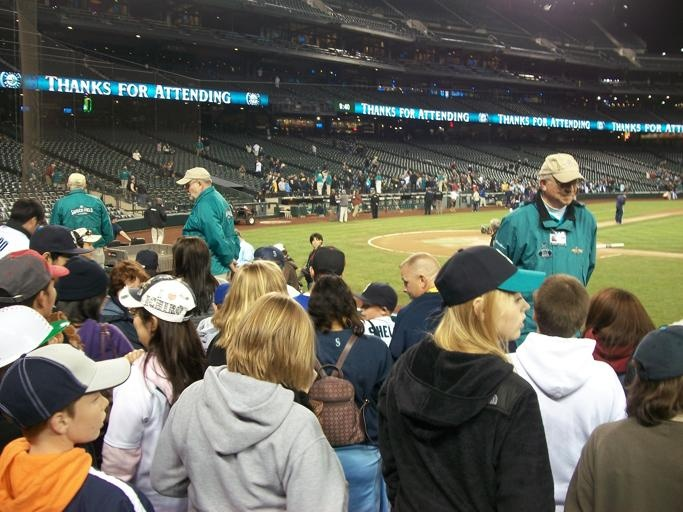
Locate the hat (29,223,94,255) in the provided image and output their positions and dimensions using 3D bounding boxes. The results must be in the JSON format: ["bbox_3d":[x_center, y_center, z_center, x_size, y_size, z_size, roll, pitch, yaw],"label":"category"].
[{"bbox_3d":[-2.698,-0.140,6.722,0.460,0.232,0.301,0,9,-26],"label":"hat"}]

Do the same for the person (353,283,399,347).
[{"bbox_3d":[0.383,0.521,6.714,0.491,0.706,0.422,5,-4,8],"label":"person"}]

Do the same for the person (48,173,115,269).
[{"bbox_3d":[-3.695,-0.117,10.077,0.808,2.123,0.626,0,14,-15],"label":"person"}]

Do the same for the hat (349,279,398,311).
[{"bbox_3d":[0.332,0.383,6.630,0.325,0.203,0.244,17,5,14],"label":"hat"}]

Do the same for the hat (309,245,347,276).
[{"bbox_3d":[-0.150,0.053,8.000,0.450,0.332,0.729,11,-4,1],"label":"hat"}]

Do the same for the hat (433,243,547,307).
[{"bbox_3d":[0.841,0.085,4.024,0.517,0.284,0.333,-18,9,8],"label":"hat"}]

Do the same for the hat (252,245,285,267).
[{"bbox_3d":[-0.781,0.000,7.637,0.260,0.210,0.433,10,-5,22],"label":"hat"}]

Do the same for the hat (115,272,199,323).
[{"bbox_3d":[-1.316,0.320,5.014,0.466,0.225,0.329,21,19,-4],"label":"hat"}]

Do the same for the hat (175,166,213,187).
[{"bbox_3d":[-1.830,-1.002,8.753,0.526,0.258,0.343,0,1,-10],"label":"hat"}]

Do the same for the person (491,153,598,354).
[{"bbox_3d":[2.029,0.331,6.837,1.035,2.522,0.693,-4,15,-4],"label":"person"}]

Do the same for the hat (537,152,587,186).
[{"bbox_3d":[1.968,-0.781,6.276,0.367,0.262,0.438,5,8,16],"label":"hat"}]
